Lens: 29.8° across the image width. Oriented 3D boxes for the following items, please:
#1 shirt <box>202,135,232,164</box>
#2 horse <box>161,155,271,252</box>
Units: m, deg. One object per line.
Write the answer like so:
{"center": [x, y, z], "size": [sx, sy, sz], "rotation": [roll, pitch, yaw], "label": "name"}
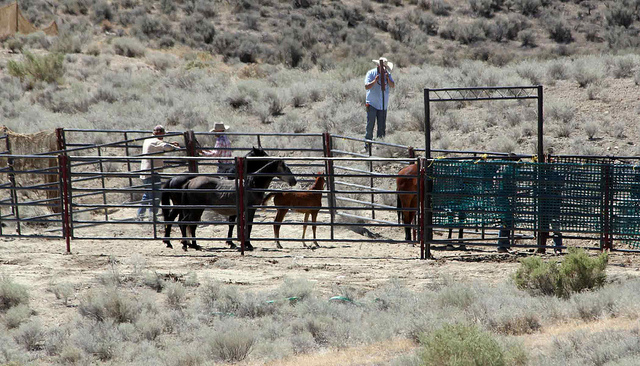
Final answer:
{"center": [-4.826, -1.875, 57.041], "size": [1.242, 1.328, 0.944], "rotation": [4, 47, 6], "label": "shirt"}
{"center": [-4.068, 1.018, 54.765], "size": [5.982, 4.191, 1.561], "rotation": [0, 7, -3], "label": "horse"}
